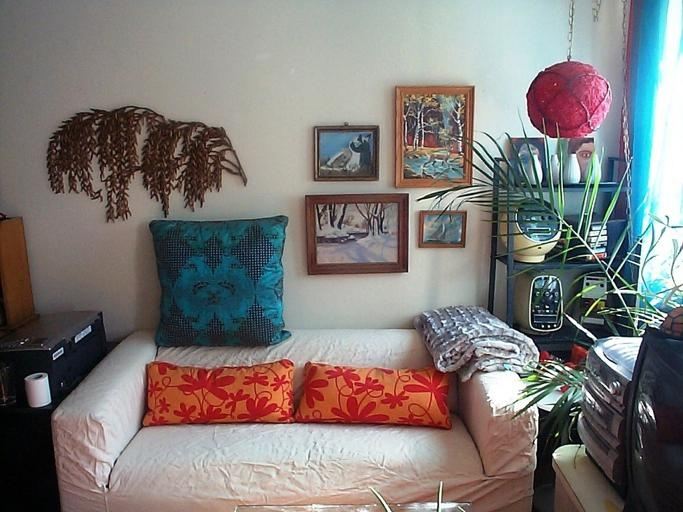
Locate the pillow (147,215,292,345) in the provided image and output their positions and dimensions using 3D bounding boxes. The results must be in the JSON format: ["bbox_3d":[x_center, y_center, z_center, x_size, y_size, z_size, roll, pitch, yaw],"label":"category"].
[{"bbox_3d":[-0.661,0.125,2.689,0.694,0.661,0.251,0,9,-1],"label":"pillow"}]
